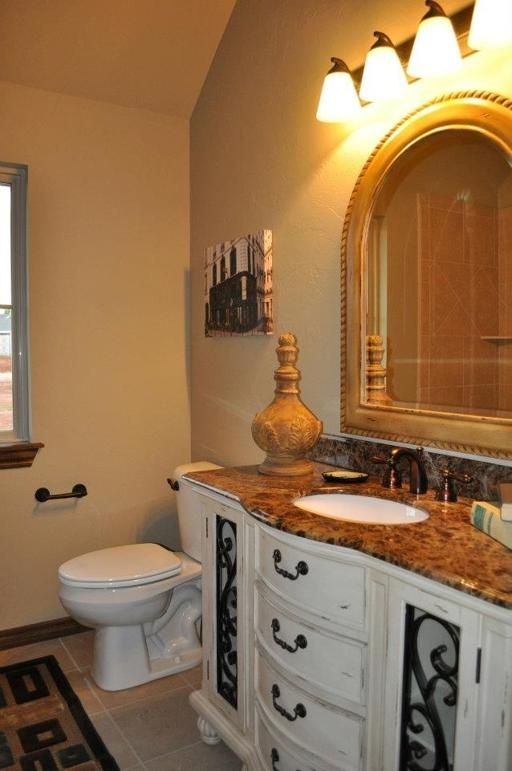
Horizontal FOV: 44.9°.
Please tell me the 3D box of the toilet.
[{"bbox_3d":[-0.382,0.657,2.165,0.596,0.669,0.325,-1,7,-26],"label":"toilet"}]
